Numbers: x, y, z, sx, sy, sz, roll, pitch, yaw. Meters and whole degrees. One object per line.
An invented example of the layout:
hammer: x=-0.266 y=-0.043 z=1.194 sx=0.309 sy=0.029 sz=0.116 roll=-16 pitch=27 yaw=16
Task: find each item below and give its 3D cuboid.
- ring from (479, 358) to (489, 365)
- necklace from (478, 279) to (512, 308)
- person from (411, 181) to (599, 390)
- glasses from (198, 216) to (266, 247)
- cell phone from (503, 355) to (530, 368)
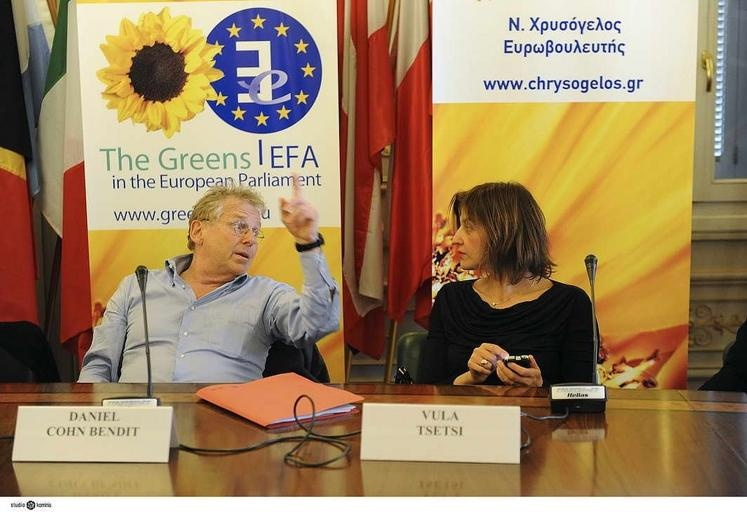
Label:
ring: x=0.440 y=0.418 z=2.763 sx=0.028 sy=0.030 sz=0.007 roll=-3 pitch=4 yaw=25
necklace: x=0.564 y=0.173 z=3.189 sx=0.087 sy=0.046 sz=0.116 roll=-20 pitch=44 yaw=-5
person: x=0.588 y=0.227 z=3.172 sx=0.791 sy=1.109 sz=0.656 roll=0 pitch=-4 yaw=27
glasses: x=-0.812 y=-0.143 z=3.791 sx=0.218 sy=0.103 sz=0.172 roll=2 pitch=-2 yaw=5
cell phone: x=0.575 y=0.418 z=2.816 sx=0.076 sy=0.065 sz=0.022 roll=-3 pitch=37 yaw=-4
